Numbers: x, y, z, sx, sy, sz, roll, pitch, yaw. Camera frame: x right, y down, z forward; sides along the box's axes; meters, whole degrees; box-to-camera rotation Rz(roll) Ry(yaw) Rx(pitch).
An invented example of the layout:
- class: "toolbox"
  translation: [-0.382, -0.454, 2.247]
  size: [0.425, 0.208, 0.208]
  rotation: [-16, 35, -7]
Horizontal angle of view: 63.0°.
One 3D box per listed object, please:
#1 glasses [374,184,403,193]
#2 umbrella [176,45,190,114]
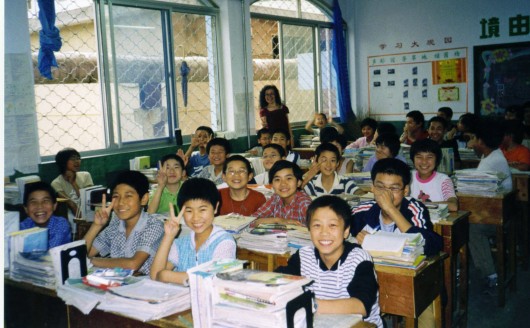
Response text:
- class: "glasses"
  translation: [0.885, 0.173, 3.107]
  size: [0.202, 0.049, 0.059]
  rotation: [-1, 8, 15]
- class: "umbrella"
  translation: [-1.153, -1.144, 6.189]
  size: [0.162, 0.646, 0.190]
  rotation: [-3, 1, -16]
